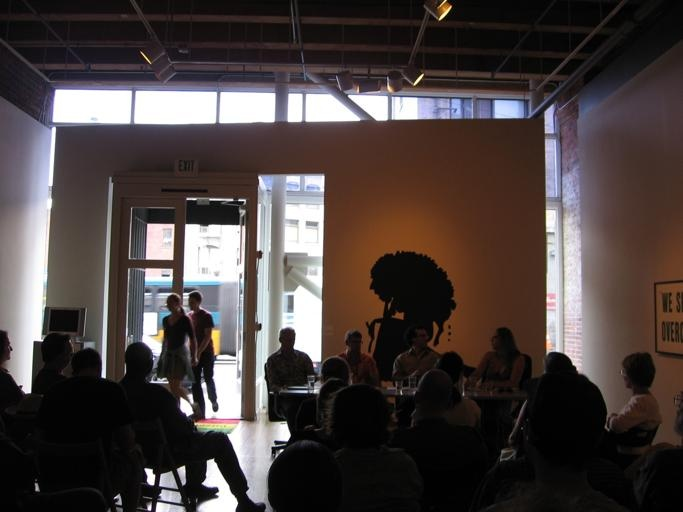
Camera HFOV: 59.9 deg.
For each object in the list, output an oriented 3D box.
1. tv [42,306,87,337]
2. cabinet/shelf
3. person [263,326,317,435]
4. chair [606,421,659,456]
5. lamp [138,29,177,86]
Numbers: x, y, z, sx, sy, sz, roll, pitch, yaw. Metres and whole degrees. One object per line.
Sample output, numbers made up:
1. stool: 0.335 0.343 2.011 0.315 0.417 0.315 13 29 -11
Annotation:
1. tv: -3.591 0.854 7.701 0.472 0.373 0.156 -1 -23 0
2. cabinet/shelf: -2.448 0.939 5.048 0.412 0.557 0.277 1 -3 38
3. person: -0.506 1.514 6.740 0.584 1.356 0.749 -6 -10 -11
4. chair: 2.468 1.574 5.056 0.324 0.264 0.279 1 -7 9
5. lamp: -2.308 -2.524 7.480 0.353 0.496 0.702 2 -5 -9
